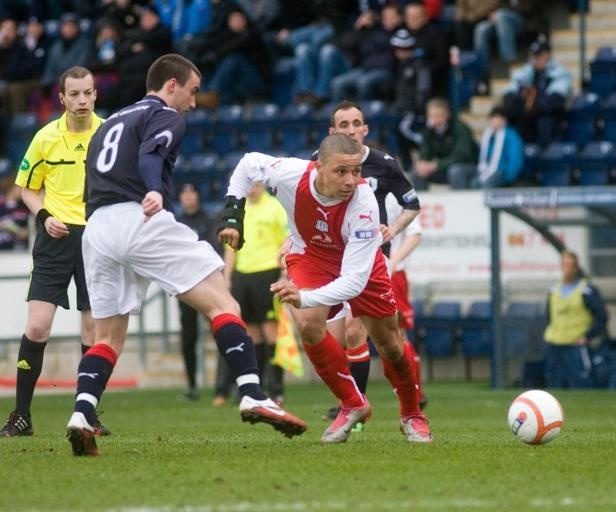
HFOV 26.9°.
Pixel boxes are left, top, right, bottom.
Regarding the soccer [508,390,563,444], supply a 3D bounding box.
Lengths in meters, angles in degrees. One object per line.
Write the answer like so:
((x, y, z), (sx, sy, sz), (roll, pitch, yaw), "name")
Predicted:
((1.608, 1.161, 9.193), (0.369, 0.369, 0.215), (-1, 4, 9), "soccer")

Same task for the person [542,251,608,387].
((2.488, 0.665, 12.180), (0.532, 1.551, 2.610), (0, 4, 11), "person")

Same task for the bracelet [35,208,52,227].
((-2.040, -0.310, 10.063), (0.126, 0.100, 0.128), (24, -5, 36), "bracelet")

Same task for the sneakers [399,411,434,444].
((0.800, 1.248, 9.490), (0.116, 0.142, 0.325), (-1, 10, -15), "sneakers")

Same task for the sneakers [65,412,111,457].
((-1.535, 1.223, 8.872), (0.198, 0.322, 0.289), (-2, 4, -8), "sneakers")
